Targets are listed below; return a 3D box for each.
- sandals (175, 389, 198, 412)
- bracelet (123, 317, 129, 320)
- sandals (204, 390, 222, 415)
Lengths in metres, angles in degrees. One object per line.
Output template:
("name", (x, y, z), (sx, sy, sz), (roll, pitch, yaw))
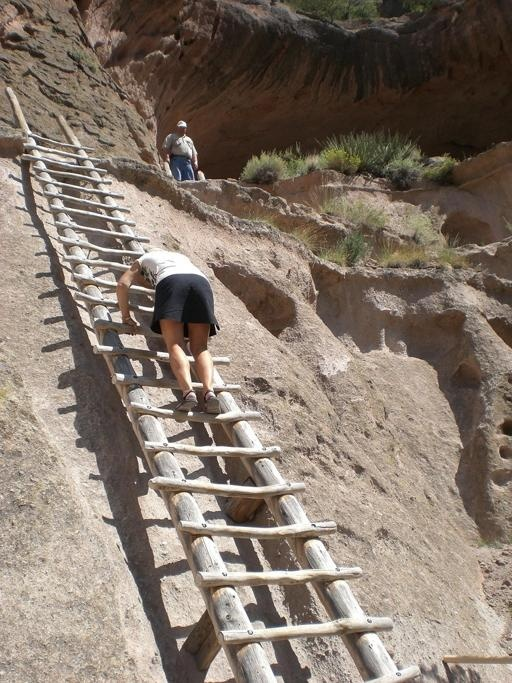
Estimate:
("sandals", (-0.384, 0.335, 5.293), (0.086, 0.166, 0.063), (1, 69, -15))
("bracelet", (-0.776, -0.138, 5.617), (0.021, 0.004, 0.016), (2, 56, 6))
("sandals", (-0.251, 0.349, 5.396), (0.075, 0.157, 0.058), (-7, 53, -10))
